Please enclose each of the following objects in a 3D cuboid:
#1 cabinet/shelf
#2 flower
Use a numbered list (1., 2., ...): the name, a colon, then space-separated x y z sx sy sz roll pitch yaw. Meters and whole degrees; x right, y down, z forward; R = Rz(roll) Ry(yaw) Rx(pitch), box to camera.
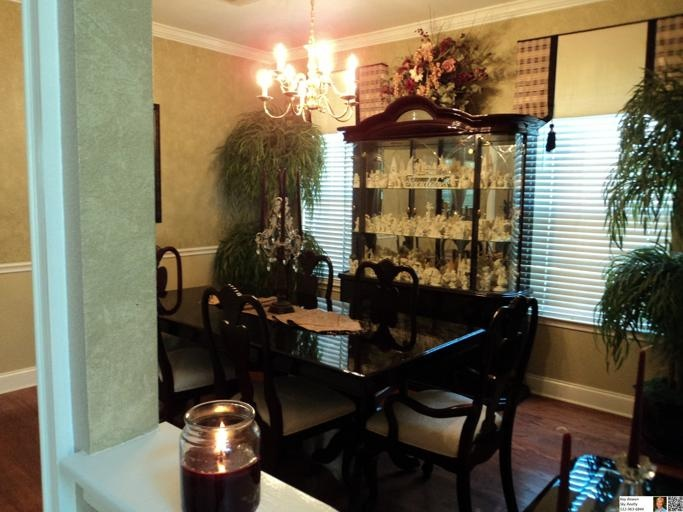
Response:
1. cabinet/shelf: 0.596 -0.211 4.010 1.389 1.724 0.562 4 11 20
2. flower: 0.836 -1.487 4.055 0.682 0.464 0.762 20 30 21
